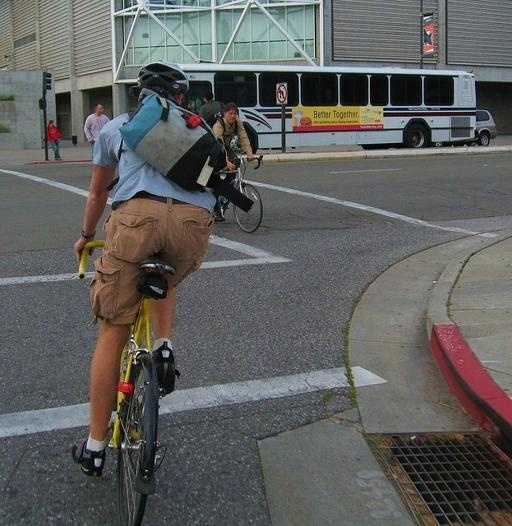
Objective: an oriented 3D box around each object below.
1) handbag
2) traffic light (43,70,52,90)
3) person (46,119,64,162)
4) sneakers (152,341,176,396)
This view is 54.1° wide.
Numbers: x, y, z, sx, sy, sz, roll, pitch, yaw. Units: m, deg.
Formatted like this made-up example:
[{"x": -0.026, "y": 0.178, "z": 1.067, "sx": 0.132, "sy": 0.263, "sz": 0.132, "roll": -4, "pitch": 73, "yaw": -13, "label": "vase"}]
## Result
[{"x": -0.310, "y": -0.448, "z": 1.879, "sx": 0.388, "sy": 0.358, "sz": 0.182, "roll": 1, "pitch": 10, "yaw": -4, "label": "handbag"}, {"x": -9.173, "y": -8.034, "z": 22.103, "sx": 0.324, "sy": 0.838, "sz": 0.897, "roll": -3, "pitch": 11, "yaw": -24, "label": "traffic light"}, {"x": -9.335, "y": -5.689, "z": 23.167, "sx": 0.564, "sy": 1.819, "sz": 1.356, "roll": -3, "pitch": 11, "yaw": -21, "label": "person"}, {"x": -0.357, "y": 0.434, "z": 2.001, "sx": 0.072, "sy": 0.233, "sz": 0.103, "roll": -2, "pitch": 25, "yaw": -6, "label": "sneakers"}]
